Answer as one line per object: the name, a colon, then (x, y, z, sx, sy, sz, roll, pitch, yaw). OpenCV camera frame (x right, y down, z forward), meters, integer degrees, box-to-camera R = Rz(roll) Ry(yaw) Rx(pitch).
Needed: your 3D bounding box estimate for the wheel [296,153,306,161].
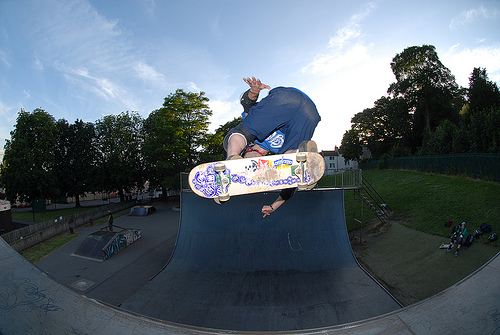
wheel: (1.446, -0.302, 8.126, 0.191, 0.190, 0.198, -1, -1, 0)

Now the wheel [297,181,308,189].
wheel: (1.515, 0.502, 8.241, 0.202, 0.124, 0.207, 0, -1, 0)

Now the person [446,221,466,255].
person: (10.017, 3.341, 13.992, 1.134, 1.190, 0.543, -9, 11, -37)

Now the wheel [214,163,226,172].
wheel: (-0.835, -0.016, 8.025, 0.214, 0.160, 0.220, -1, 7, 0)
